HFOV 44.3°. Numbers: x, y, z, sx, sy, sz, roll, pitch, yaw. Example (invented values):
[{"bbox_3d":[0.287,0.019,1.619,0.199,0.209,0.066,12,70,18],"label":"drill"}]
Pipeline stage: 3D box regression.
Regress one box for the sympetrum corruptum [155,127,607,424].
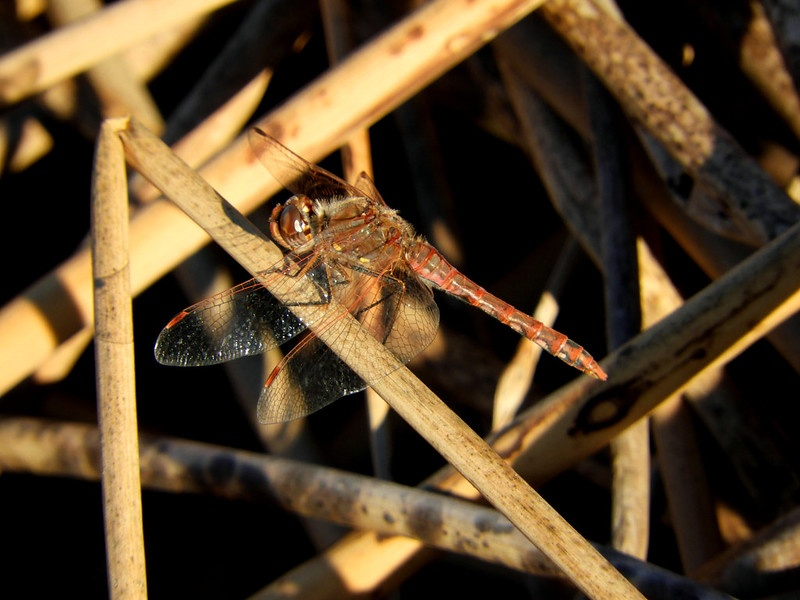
[{"bbox_3d":[-0.250,-0.011,4.113,1.305,1.446,0.457,16,31,-7],"label":"sympetrum corruptum"}]
